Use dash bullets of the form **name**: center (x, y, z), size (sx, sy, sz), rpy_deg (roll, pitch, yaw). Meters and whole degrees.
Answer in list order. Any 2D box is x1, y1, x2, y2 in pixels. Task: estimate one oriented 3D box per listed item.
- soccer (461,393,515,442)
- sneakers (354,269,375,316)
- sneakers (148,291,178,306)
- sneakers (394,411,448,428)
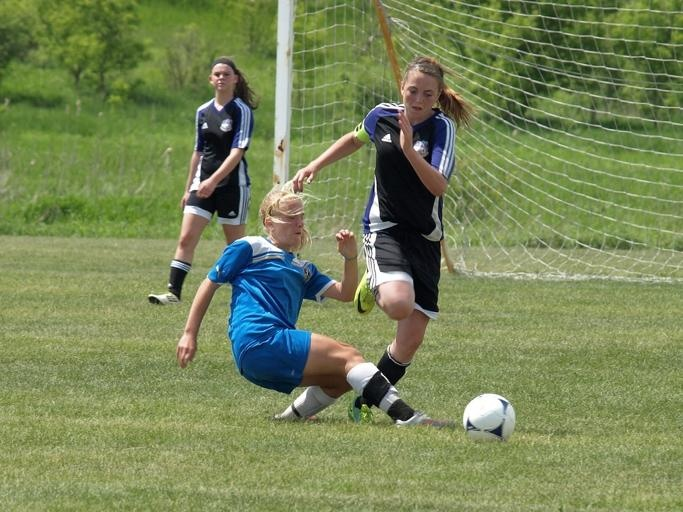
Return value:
- **soccer**: center (1.367, 1.502, 12.467), size (0.424, 0.402, 0.423), rpy_deg (-38, 5, 3)
- **sneakers**: center (0.219, 0.345, 12.785), size (0.159, 0.429, 0.186), rpy_deg (2, 6, -4)
- **sneakers**: center (-2.022, 0.485, 15.152), size (0.365, 0.152, 0.132), rpy_deg (6, -3, -11)
- **sneakers**: center (0.759, 1.530, 12.484), size (0.511, 0.213, 0.171), rpy_deg (-7, -3, 0)
